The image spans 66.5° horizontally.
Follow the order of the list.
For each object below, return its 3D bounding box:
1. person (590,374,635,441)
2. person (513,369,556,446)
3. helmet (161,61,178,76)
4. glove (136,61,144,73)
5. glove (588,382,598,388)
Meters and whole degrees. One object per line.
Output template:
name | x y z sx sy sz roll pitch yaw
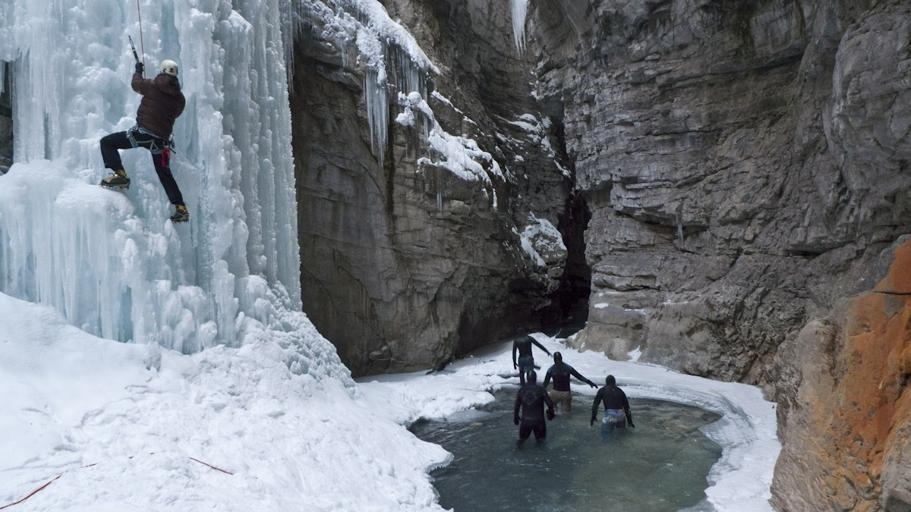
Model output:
person | 4.021 3.774 17.636 1.060 1.525 0.477 -2 15 3
person | 2.004 4.124 17.556 1.043 2.185 0.656 0 8 13
helmet | -6.281 -4.113 15.337 0.372 0.289 0.297 39 34 26
glove | -6.924 -4.119 15.258 0.164 0.263 0.364 -9 15 -21
glove | 3.868 3.635 19.391 0.198 0.190 0.589 -20 -19 0
